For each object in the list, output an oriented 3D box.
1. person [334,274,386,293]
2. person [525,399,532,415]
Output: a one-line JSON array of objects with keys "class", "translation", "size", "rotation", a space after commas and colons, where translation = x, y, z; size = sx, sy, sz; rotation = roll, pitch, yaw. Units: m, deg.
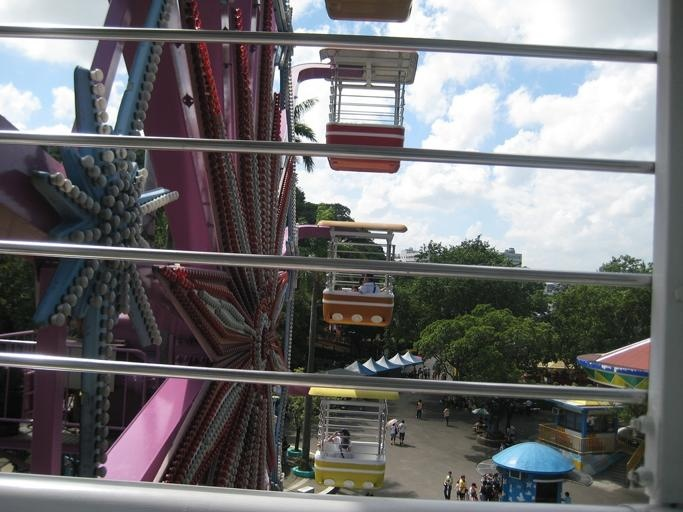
[{"class": "person", "translation": [0.452, 0.658, 15.192], "size": [0.761, 0.198, 0.735], "rotation": [4, 7, 45]}, {"class": "person", "translation": [11.442, 9.273, 38.185], "size": [0.402, 0.727, 1.409], "rotation": [-1, -9, 16]}]
